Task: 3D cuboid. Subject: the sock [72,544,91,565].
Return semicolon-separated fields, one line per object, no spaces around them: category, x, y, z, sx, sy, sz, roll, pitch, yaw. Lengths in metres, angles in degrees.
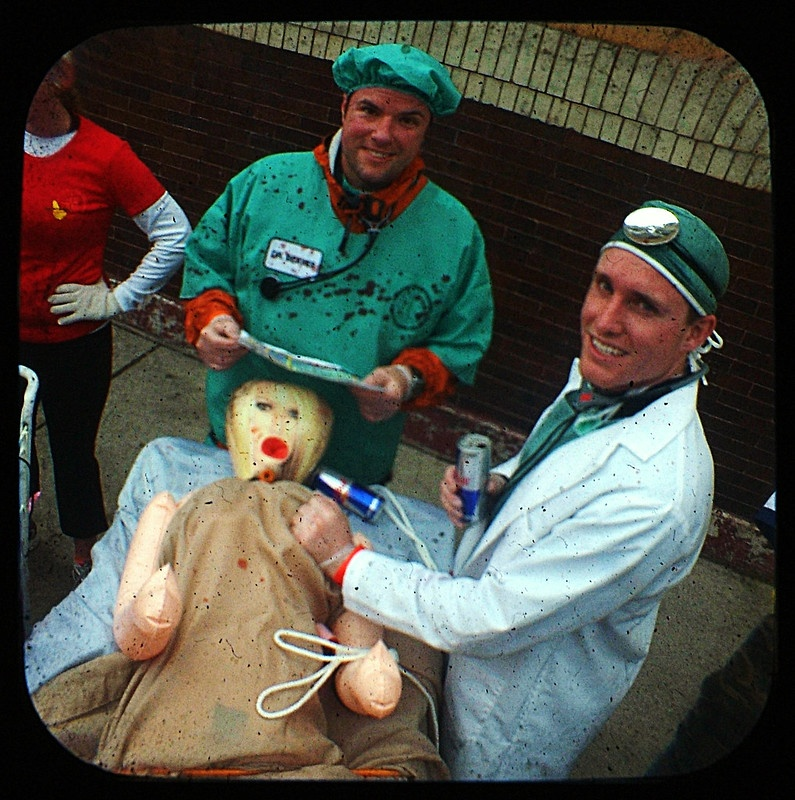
sock;-1.111;0.535;2.909;0.073;0.077;0.020;8;1;3

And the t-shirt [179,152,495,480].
t-shirt;-0.187;-0.280;2.406;0.783;0.831;0.467;21;26;-10

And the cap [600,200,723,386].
cap;0.583;-0.241;1.808;0.199;0.210;0.288;-38;90;-33

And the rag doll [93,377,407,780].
rag doll;-0.379;0.314;2.073;0.650;0.320;0.977;4;45;-19

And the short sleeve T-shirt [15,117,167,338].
short sleeve T-shirt;-1.055;-0.515;2.606;0.713;0.674;0.268;7;9;23

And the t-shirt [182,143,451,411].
t-shirt;-0.215;-0.333;2.360;0.623;0.545;0.357;27;20;-8

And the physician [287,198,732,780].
physician;0.275;0.241;1.905;0.802;1.318;0.612;8;33;-3

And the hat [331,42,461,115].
hat;-0.007;-0.829;2.118;0.215;0.080;0.202;13;7;-3

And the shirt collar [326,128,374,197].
shirt collar;-0.135;-0.645;2.303;0.134;0.126;0.185;4;70;-4

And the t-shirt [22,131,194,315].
t-shirt;-0.912;-0.572;2.604;0.525;0.445;0.241;30;39;2
